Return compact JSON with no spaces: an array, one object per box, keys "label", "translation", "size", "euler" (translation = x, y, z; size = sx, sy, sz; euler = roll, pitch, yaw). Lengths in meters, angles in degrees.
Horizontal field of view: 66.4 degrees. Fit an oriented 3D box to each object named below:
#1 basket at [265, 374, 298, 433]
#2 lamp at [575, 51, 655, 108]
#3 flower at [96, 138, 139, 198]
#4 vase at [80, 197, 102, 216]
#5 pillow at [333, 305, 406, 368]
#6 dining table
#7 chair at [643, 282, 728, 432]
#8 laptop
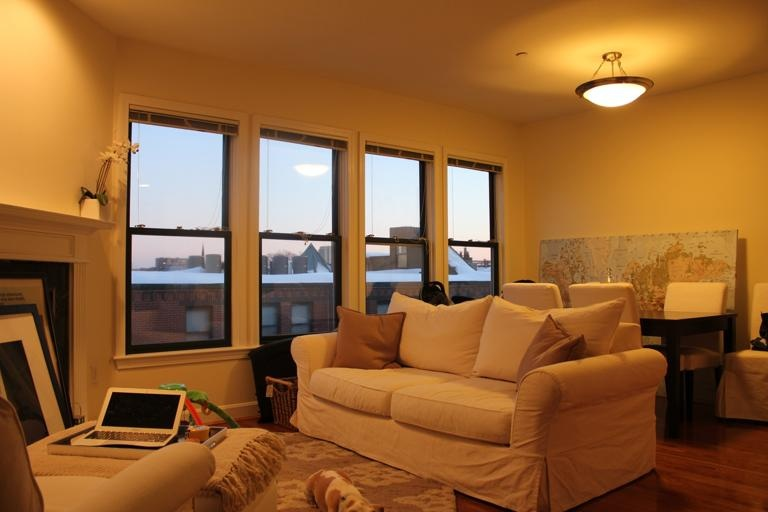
[{"label":"basket","translation":[-0.970,1.373,5.588],"size":[0.400,0.496,0.485],"euler":[4,-7,-36]},{"label":"lamp","translation":[2.320,-1.733,5.867],"size":[0.642,0.411,0.632],"euler":[2,-3,-30]},{"label":"flower","translation":[-2.450,-0.804,5.394],"size":[0.368,0.528,0.371],"euler":[0,1,-25]},{"label":"vase","translation":[-2.553,-0.407,5.119],"size":[0.163,0.155,0.156],"euler":[2,-7,-21]},{"label":"pillow","translation":[-0.128,0.759,5.373],"size":[0.488,0.439,0.187],"euler":[5,-25,-8]},{"label":"dining table","translation":[2.708,0.984,5.866],"size":[1.219,1.126,1.131],"euler":[0,0,-43]},{"label":"chair","translation":[2.947,0.974,5.993],"size":[0.884,1.379,0.868],"euler":[-2,-2,-25]},{"label":"laptop","translation":[-1.440,0.946,3.433],"size":[0.424,0.203,0.342],"euler":[-1,-1,6]}]
